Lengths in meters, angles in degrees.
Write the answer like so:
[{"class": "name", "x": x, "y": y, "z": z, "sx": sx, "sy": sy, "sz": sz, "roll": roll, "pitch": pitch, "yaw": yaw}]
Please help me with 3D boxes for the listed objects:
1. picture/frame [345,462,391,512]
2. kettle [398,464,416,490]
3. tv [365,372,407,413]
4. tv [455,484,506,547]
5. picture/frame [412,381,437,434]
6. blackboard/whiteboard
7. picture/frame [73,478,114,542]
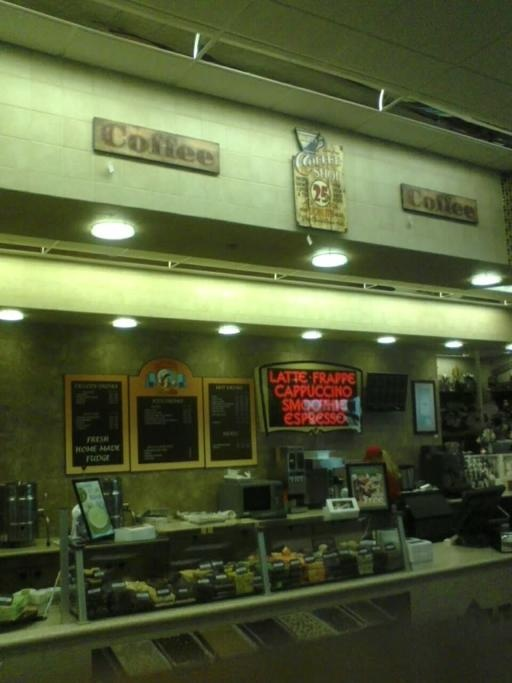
[{"class": "picture/frame", "x": 0.668, "y": 0.882, "z": 3.947, "sx": 0.312, "sy": 0.354, "sz": 0.026, "roll": 1, "pitch": -40, "yaw": -6}, {"class": "kettle", "x": 1.649, "y": 1.465, "z": 7.108, "sx": 0.237, "sy": 0.243, "sz": 0.249, "roll": 1, "pitch": 1, "yaw": 25}, {"class": "tv", "x": 1.412, "y": 0.556, "z": 7.209, "sx": 0.576, "sy": 0.390, "sz": 0.168, "roll": 3, "pitch": -15, "yaw": -30}, {"class": "tv", "x": 1.506, "y": 1.147, "z": 4.341, "sx": 0.357, "sy": 0.370, "sz": 0.369, "roll": 0, "pitch": -2, "yaw": 32}, {"class": "picture/frame", "x": 1.935, "y": 0.777, "z": 7.614, "sx": 0.559, "sy": 0.744, "sz": 0.058, "roll": 8, "pitch": -14, "yaw": -40}, {"class": "blackboard/whiteboard", "x": -0.809, "y": 0.717, "z": 5.817, "sx": 1.844, "sy": 0.843, "sz": 0.115, "roll": 4, "pitch": -16, "yaw": -35}, {"class": "picture/frame", "x": -0.780, "y": 0.819, "z": 3.203, "sx": 0.169, "sy": 0.291, "sz": 0.213, "roll": 4, "pitch": -16, "yaw": -34}]
